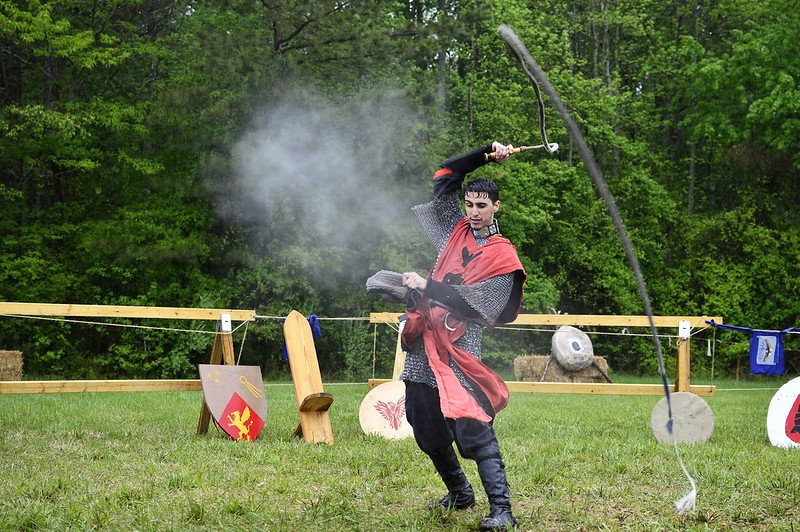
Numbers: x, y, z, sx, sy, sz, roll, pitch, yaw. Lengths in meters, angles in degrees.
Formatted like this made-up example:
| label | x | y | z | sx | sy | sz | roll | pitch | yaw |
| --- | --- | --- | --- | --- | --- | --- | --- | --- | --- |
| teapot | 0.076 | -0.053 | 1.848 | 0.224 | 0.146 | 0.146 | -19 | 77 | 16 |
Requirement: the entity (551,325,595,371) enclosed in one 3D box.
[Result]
| label | x | y | z | sx | sy | sz | roll | pitch | yaw |
| --- | --- | --- | --- | --- | --- | --- | --- | --- | --- |
| entity | 5.347 | 2.562 | 34.376 | 1.193 | 1.088 | 0.730 | -1 | -1 | 7 |

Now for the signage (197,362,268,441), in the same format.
| label | x | y | z | sx | sy | sz | roll | pitch | yaw |
| --- | --- | --- | --- | --- | --- | --- | --- | --- | --- |
| signage | -3.864 | 3.162 | 25.628 | 1.681 | 2.088 | 0.222 | -4 | -16 | -34 |

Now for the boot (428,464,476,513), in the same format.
| label | x | y | z | sx | sy | sz | roll | pitch | yaw |
| --- | --- | --- | --- | --- | --- | --- | --- | --- | --- |
| boot | 1.039 | 4.513 | 23.027 | 0.930 | 1.067 | 0.533 | -5 | 13 | 16 |

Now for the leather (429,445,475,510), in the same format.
| label | x | y | z | sx | sy | sz | roll | pitch | yaw |
| --- | --- | --- | --- | --- | --- | --- | --- | --- | --- |
| leather | 1.005 | 4.469 | 22.997 | 0.956 | 1.264 | 0.562 | 7 | -36 | -12 |
